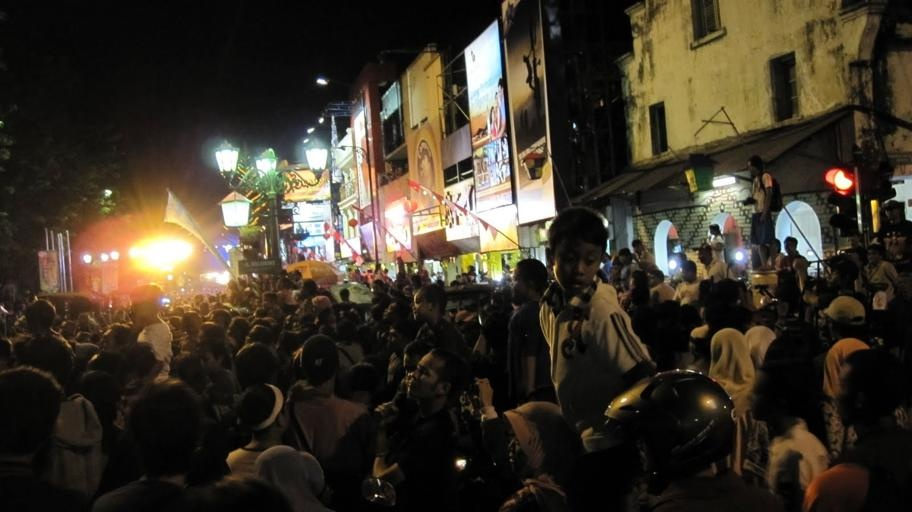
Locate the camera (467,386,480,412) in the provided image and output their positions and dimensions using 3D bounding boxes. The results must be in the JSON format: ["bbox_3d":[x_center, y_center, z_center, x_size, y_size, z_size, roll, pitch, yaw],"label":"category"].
[{"bbox_3d":[0.231,1.694,8.515,0.087,0.248,0.188,2,-2,-2],"label":"camera"}]
